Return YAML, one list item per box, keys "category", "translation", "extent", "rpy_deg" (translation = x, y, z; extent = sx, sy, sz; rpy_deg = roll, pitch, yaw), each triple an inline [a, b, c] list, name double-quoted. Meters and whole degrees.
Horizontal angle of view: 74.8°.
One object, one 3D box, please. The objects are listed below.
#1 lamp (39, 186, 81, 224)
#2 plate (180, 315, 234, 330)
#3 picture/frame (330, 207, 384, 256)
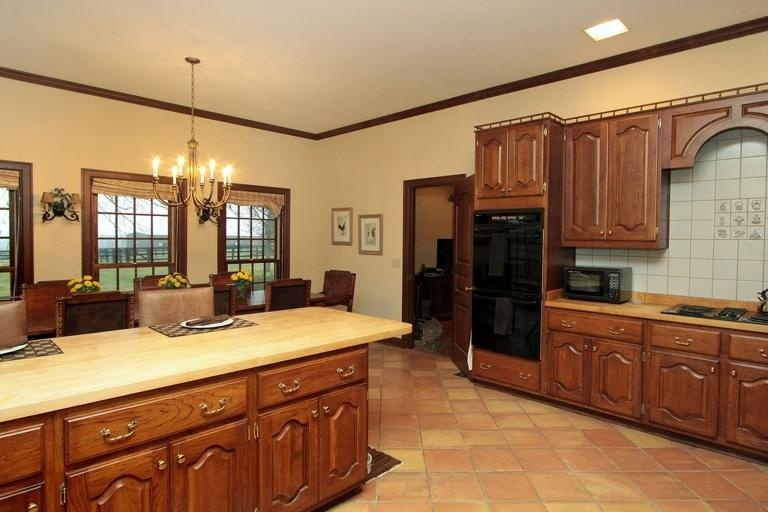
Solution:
- category: "lamp"
  translation: [-3.953, -0.622, 6.118]
  extent: [0.397, 0.390, 0.208]
  rpy_deg: [-3, 11, -38]
- category: "plate"
  translation: [-1.419, 0.542, 4.112]
  extent: [0.357, 0.056, 0.380]
  rpy_deg: [1, 2, 19]
- category: "picture/frame"
  translation: [-0.387, -0.390, 7.852]
  extent: [0.036, 0.536, 0.802]
  rpy_deg: [-9, 11, -44]
